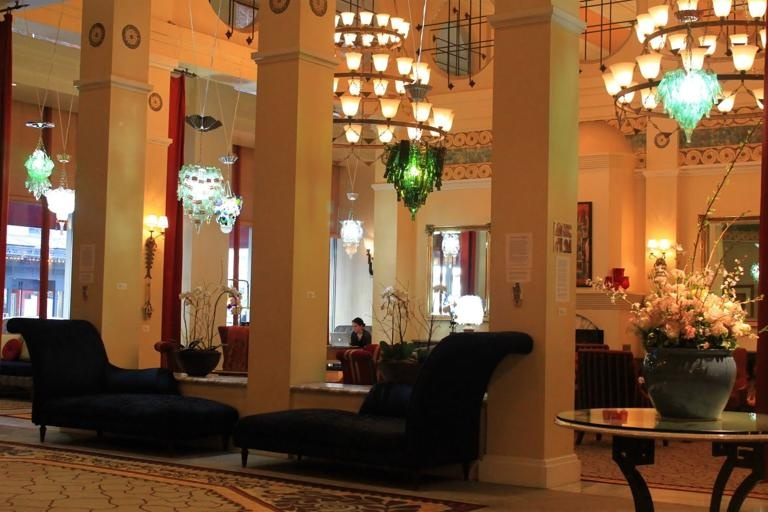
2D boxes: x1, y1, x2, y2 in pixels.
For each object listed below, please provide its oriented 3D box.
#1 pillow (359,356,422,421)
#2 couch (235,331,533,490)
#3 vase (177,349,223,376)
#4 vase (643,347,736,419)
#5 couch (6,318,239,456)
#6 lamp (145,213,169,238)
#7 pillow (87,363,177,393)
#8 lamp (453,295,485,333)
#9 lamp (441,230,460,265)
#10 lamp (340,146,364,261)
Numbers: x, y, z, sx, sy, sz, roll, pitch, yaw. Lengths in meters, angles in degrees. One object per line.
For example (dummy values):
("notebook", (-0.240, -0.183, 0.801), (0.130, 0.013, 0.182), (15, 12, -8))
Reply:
("pillow", (0.075, 1.346, 7.271), (0.551, 0.451, 0.543), (4, -5, -42))
("couch", (0.041, 1.385, 7.154), (2.546, 1.648, 1.418), (0, -3, 35))
("vase", (-2.290, 1.259, 8.691), (0.378, 0.243, 0.389), (3, -5, -24))
("vase", (2.143, 0.881, 4.911), (0.481, 0.398, 0.512), (2, -13, -4))
("couch", (-3.111, 1.573, 8.523), (2.750, 1.812, 1.490), (-4, -7, 28))
("lamp", (-4.177, -0.555, 12.996), (0.288, 0.439, 0.562), (1, -4, 21))
("pillow", (-3.055, 1.523, 8.592), (0.472, 0.429, 0.519), (-2, -5, 29))
("lamp", (1.204, 0.814, 10.086), (0.366, 0.493, 1.032), (2, -4, 6))
("lamp", (1.488, -0.215, 15.355), (0.416, 0.639, 0.184), (2, -4, 22))
("lamp", (-0.892, -1.560, 19.966), (0.714, 3.068, 2.472), (3, -3, -3))
